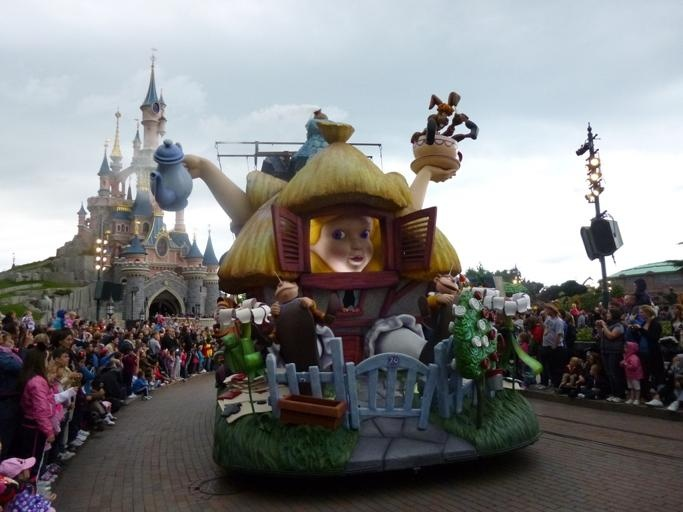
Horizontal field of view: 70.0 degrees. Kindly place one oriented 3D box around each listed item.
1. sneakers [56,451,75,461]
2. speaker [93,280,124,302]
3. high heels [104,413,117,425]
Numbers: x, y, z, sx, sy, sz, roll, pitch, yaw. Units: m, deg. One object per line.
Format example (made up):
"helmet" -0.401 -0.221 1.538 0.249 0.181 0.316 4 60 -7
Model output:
"sneakers" -4.185 2.997 7.325 0.245 0.114 0.082 0 1 0
"speaker" -21.333 3.228 44.202 1.222 1.576 2.319 -4 -4 21
"high heels" -4.526 3.157 9.439 0.330 0.235 0.119 3 1 -24
